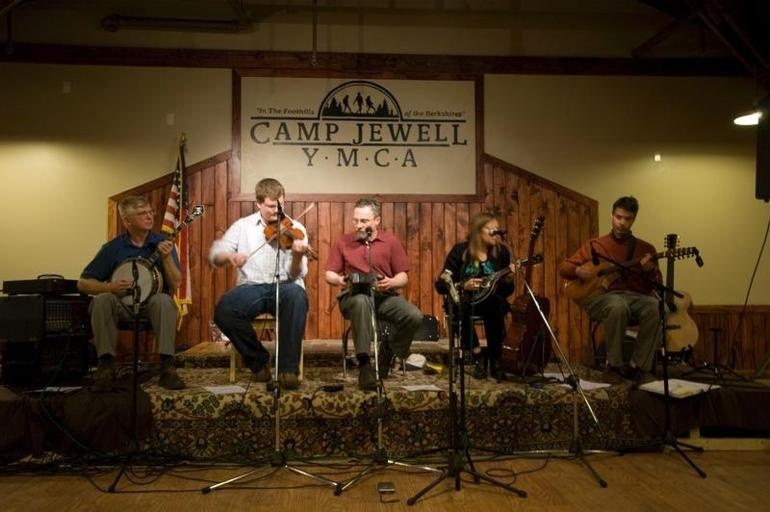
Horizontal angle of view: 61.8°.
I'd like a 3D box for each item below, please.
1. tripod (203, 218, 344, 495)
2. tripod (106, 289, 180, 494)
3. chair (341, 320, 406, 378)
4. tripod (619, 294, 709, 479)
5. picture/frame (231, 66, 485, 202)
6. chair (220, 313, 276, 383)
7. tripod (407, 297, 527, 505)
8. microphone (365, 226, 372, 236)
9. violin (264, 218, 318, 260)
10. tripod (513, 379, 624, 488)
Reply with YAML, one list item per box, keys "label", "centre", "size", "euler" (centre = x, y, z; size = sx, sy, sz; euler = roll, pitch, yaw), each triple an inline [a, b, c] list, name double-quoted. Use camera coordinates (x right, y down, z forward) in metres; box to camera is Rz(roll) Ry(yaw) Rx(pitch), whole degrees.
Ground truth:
- label: "tripod"
  centre: [-0.926, 0.762, 5.671]
  size: [1.074, 2.269, 1.183]
  euler: [1, -1, -4]
- label: "tripod"
  centre: [-2.106, 1.083, 5.739]
  size: [0.614, 1.611, 1.154]
  euler: [1, -1, -13]
- label: "chair"
  centre: [-0.152, 0.926, 6.335]
  size: [0.529, 0.660, 0.692]
  euler: [1, -5, -1]
- label: "tripod"
  centre: [2.459, 1.102, 5.742]
  size: [0.672, 1.448, 0.888]
  euler: [1, -1, -6]
- label: "picture/frame"
  centre: [-0.344, -1.413, 7.691]
  size: [2.879, 1.424, 0.071]
  euler: [0, -1, -3]
- label: "chair"
  centre: [-1.331, 0.879, 6.369]
  size: [0.790, 0.771, 0.580]
  euler: [0, -4, -3]
- label: "tripod"
  centre: [0.705, 1.141, 5.497]
  size: [0.841, 1.601, 1.204]
  euler: [0, -1, 12]
- label: "microphone"
  centre: [-0.162, -0.239, 6.128]
  size: [0.042, 0.088, 0.173]
  euler: [0, -1, 15]
- label: "violin"
  centre: [-0.915, -0.201, 6.005]
  size: [0.301, 0.099, 0.581]
  euler: [-31, 51, -17]
- label: "tripod"
  centre: [1.596, 1.593, 5.652]
  size: [0.906, 0.774, 0.727]
  euler: [5, -18, -15]
